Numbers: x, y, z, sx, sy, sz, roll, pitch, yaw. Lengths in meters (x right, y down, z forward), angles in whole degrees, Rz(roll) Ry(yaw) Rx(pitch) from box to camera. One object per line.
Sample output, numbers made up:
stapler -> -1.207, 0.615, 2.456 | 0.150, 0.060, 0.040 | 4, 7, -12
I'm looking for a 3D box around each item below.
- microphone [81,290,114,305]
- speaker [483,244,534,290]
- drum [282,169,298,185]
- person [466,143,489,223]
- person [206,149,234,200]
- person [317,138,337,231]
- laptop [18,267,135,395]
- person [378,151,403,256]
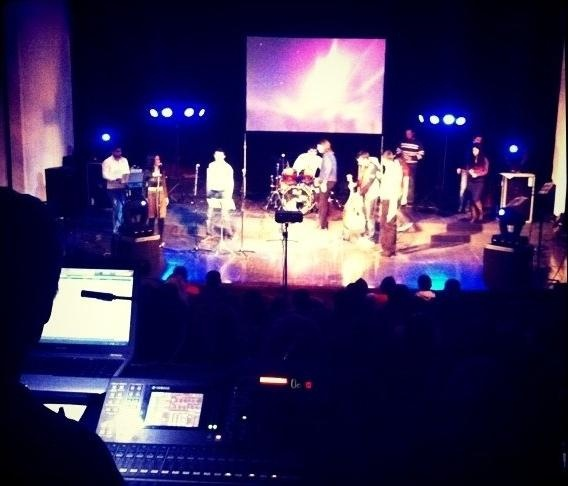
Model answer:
microphone -> -0.670, 0.196, 1.850 | 0.119, 0.033, 0.039 | 10, 16, 24
speaker -> 3.039, 0.308, 6.984 | 0.460, 0.756, 0.353 | -3, 8, 1
drum -> 0.099, -1.384, 10.755 | 0.329, 0.325, 0.287 | 3, 11, 0
person -> 4.142, -1.316, 11.064 | 0.426, 1.591, 0.720 | 4, 11, 9
person -> -1.055, -1.096, 8.506 | 0.422, 0.802, 0.622 | 1, 11, -9
person -> 0.772, -1.074, 9.885 | 0.367, 1.737, 0.566 | 1, 11, -9
laptop -> -0.780, 0.261, 1.775 | 0.443, 0.360, 0.354 | 3, 5, 1
person -> 1.738, -0.629, 8.591 | 0.350, 1.760, 0.716 | 5, 11, 12
